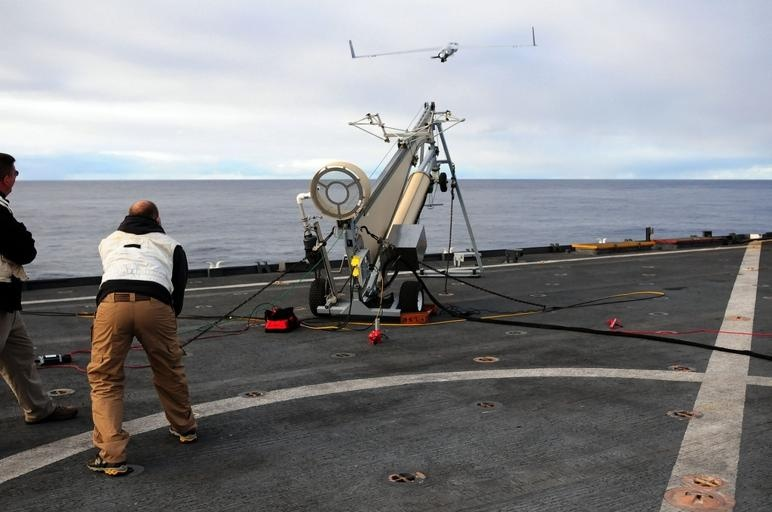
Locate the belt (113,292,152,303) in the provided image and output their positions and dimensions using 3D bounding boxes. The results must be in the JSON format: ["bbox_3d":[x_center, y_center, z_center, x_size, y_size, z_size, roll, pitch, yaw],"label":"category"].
[{"bbox_3d":[-2.399,0.393,5.216,0.316,0.084,0.043,-2,9,-10],"label":"belt"}]

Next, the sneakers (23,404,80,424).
[{"bbox_3d":[-3.703,1.788,6.210,0.609,0.145,0.183,-2,7,-24],"label":"sneakers"}]

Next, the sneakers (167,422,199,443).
[{"bbox_3d":[-2.129,1.832,5.719,0.374,0.118,0.154,5,2,32],"label":"sneakers"}]

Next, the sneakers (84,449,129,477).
[{"bbox_3d":[-2.548,1.933,5.151,0.476,0.144,0.156,7,2,9],"label":"sneakers"}]
